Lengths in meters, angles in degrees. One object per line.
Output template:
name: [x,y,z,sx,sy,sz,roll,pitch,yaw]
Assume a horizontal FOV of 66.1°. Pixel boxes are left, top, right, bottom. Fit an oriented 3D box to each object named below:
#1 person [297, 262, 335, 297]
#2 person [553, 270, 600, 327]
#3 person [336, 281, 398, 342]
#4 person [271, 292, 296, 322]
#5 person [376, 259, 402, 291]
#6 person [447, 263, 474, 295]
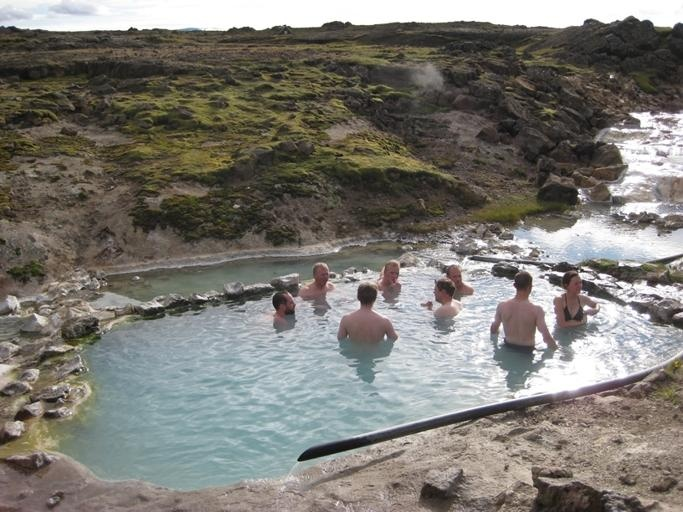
person: [-0.854,0.912,19.204,1.152,1.004,1.657,-2,3,38]
person: [7.119,1.285,16.303,0.810,1.820,1.191,12,18,38]
person: [0.745,1.648,15.331,1.734,1.775,0.585,0,15,2]
person: [-1.864,1.647,17.182,0.705,0.878,0.639,-2,14,-6]
person: [1.798,0.767,19.811,1.310,1.023,0.663,-11,36,-28]
person: [4.288,0.882,19.087,1.237,0.764,0.579,-16,32,-2]
